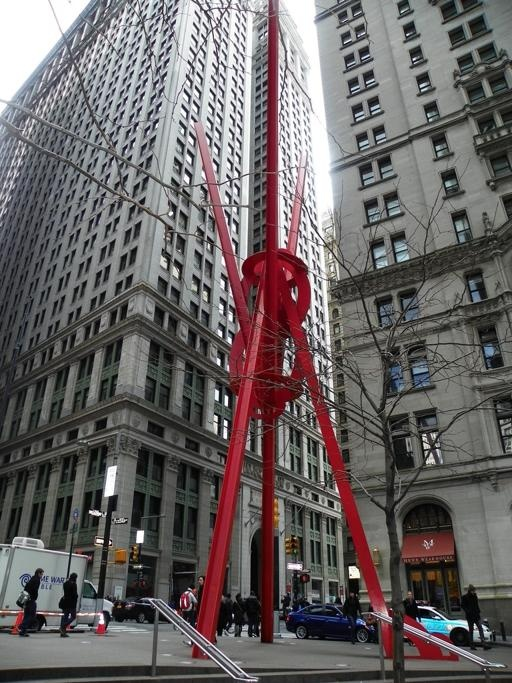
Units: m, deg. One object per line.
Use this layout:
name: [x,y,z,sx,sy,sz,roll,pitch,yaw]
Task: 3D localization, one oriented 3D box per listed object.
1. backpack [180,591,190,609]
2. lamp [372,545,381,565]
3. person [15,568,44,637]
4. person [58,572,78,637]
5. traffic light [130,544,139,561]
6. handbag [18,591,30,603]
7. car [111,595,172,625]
backpack: [-2.331,8.542,14.961,0.279,0.550,0.926,3,-27,-6]
lamp: [5.392,9.761,20.545,0.350,0.822,0.461,-14,-30,24]
person: [-6.071,6.913,12.096,0.469,1.544,0.901,10,-29,-19]
person: [-5.480,7.674,13.289,0.505,1.582,1.419,9,-28,-17]
traffic light: [-6.726,11.705,25.113,0.421,0.828,1.545,7,-28,-15]
handbag: [-6.117,6.738,11.928,0.232,0.371,0.394,20,-34,-35]
car: [-7.525,17.072,28.775,2.037,1.370,3.930,18,-32,-31]
